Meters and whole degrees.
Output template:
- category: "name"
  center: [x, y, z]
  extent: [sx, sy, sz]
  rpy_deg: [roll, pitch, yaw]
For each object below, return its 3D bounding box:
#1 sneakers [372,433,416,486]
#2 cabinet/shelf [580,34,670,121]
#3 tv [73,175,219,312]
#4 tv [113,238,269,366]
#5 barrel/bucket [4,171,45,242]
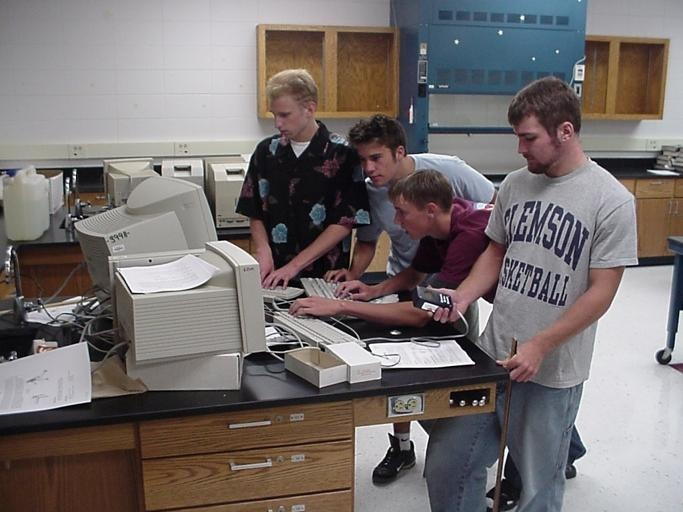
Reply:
- category: "sneakers"
  center: [0.226, 1.028, 2.809]
  extent: [0.116, 0.211, 0.331]
  rpy_deg: [-5, 4, 42]
- category: "cabinet/shelf"
  center: [3.087, -1.998, 6.155]
  extent: [0.933, 0.811, 0.313]
  rpy_deg: [4, 22, 17]
- category: "tv"
  center: [-0.808, -0.140, 2.268]
  extent: [0.507, 0.537, 0.524]
  rpy_deg: [-7, 14, -27]
- category: "tv"
  center: [-0.463, 0.093, 1.679]
  extent: [0.370, 0.265, 0.374]
  rpy_deg: [-4, 13, -16]
- category: "barrel/bucket"
  center: [-2.081, -0.348, 3.561]
  extent: [0.243, 0.452, 0.362]
  rpy_deg: [-5, 13, -17]
